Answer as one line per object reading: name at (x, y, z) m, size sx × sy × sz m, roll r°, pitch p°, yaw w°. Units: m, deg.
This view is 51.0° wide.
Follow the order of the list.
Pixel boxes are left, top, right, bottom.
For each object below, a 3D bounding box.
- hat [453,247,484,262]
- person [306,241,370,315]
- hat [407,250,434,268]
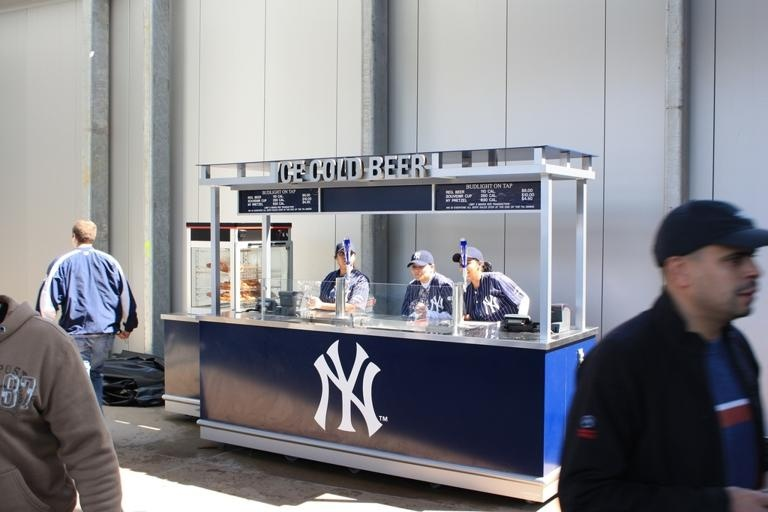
hat at (0.925, -0.028, 8.583) m, size 0.199 × 0.102 × 0.316 m, roll -19°, pitch -28°, yaw 41°
person at (-0.516, 0.226, 8.733) m, size 0.628 × 0.646 × 1.265 m, roll -1°, pitch 8°, yaw -6°
hat at (0.428, 0.037, 8.497) m, size 0.242 × 0.119 × 0.172 m, roll 5°, pitch -4°, yaw -39°
